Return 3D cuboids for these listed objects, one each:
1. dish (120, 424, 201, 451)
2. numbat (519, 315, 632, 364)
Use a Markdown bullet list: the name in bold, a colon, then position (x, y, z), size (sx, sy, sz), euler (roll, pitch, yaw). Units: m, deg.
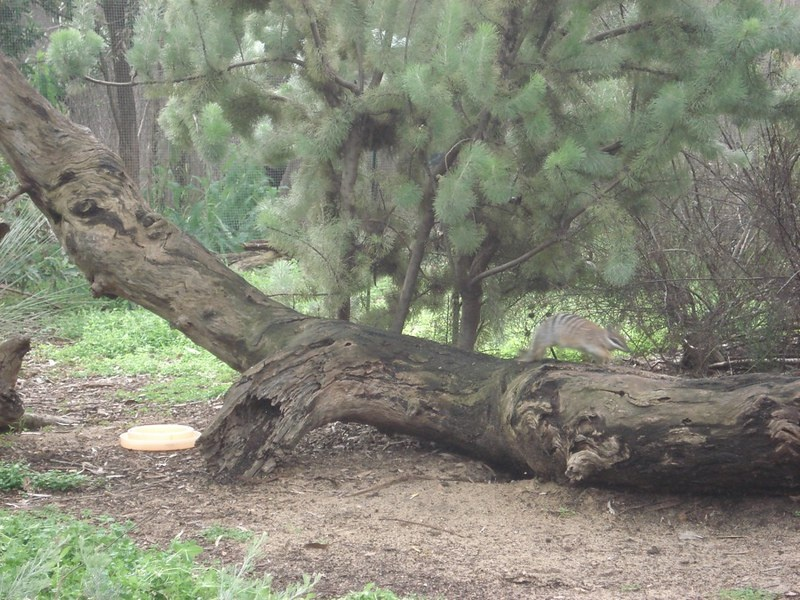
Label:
- **dish**: position (-1.875, 1.064, 9.314), size (0.613, 0.117, 0.387), euler (1, 11, -12)
- **numbat**: position (1.423, 0.343, 9.698), size (0.912, 0.461, 0.245), euler (9, 11, 28)
